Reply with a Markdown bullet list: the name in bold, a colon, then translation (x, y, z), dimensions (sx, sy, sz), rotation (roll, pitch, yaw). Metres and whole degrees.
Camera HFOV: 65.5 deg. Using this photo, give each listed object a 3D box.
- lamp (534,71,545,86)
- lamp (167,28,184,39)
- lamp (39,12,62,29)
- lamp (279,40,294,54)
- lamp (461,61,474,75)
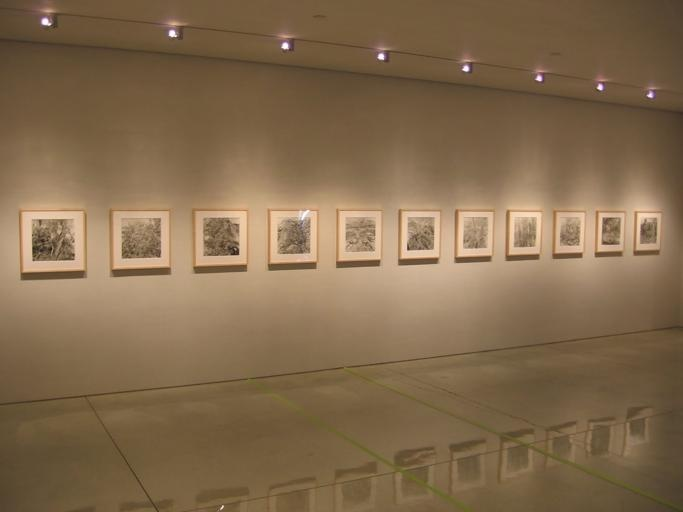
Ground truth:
- **lamp**: translation (4.107, -3.630, 10.869), dimensions (0.207, 0.207, 0.117), rotation (-3, 3, -23)
- **lamp**: translation (-2.609, -3.462, 8.283), dimensions (0.120, 0.165, 0.158), rotation (7, 13, -8)
- **lamp**: translation (-4.272, -3.363, 7.734), dimensions (0.273, 0.277, 0.155), rotation (8, 10, 31)
- **lamp**: translation (-0.885, -3.504, 8.886), dimensions (0.161, 0.157, 0.039), rotation (0, 14, 3)
- **lamp**: translation (2.441, -3.621, 10.196), dimensions (0.201, 0.115, 0.150), rotation (-3, 7, -10)
